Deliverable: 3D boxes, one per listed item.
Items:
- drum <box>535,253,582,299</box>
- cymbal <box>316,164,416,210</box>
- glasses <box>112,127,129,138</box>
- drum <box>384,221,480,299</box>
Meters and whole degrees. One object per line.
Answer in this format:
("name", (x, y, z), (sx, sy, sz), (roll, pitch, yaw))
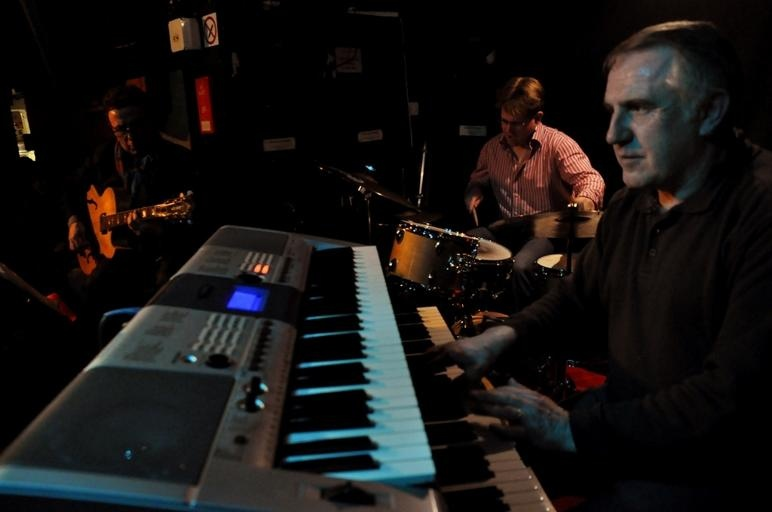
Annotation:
("drum", (1.162, 0.095, 4.017), (0.252, 0.100, 0.260), (-6, 28, 3))
("cymbal", (-0.143, -0.526, 4.693), (0.636, 0.394, 0.549), (16, 29, 31))
("glasses", (-2.002, -0.923, 4.408), (0.081, 0.056, 0.078), (1, -2, -9))
("drum", (0.328, 0.056, 4.329), (0.599, 0.375, 0.588), (23, -2, 1))
